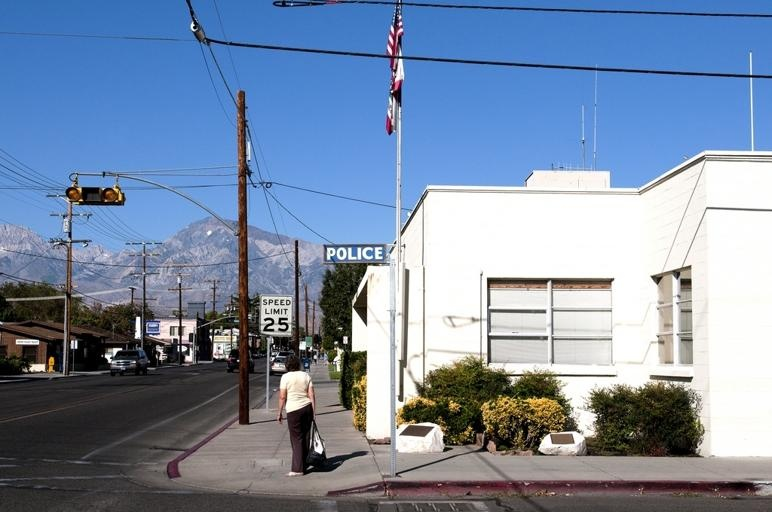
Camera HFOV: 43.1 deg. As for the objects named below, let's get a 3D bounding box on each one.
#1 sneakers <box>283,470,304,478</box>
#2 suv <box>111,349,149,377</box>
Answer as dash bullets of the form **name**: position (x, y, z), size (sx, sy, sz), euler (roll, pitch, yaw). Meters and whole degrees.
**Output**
- **sneakers**: position (-2.247, 5.368, 24.237), size (0.347, 0.153, 0.152), euler (8, -3, -10)
- **suv**: position (-19.631, 8.160, 74.678), size (2.366, 1.993, 3.828), euler (-4, 0, -6)
